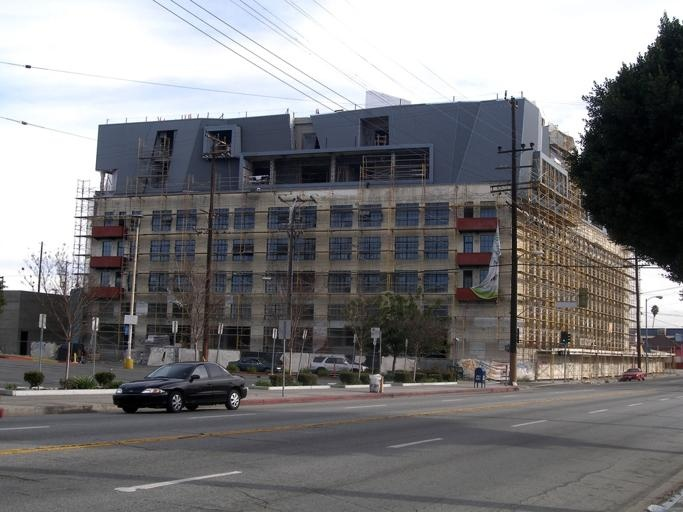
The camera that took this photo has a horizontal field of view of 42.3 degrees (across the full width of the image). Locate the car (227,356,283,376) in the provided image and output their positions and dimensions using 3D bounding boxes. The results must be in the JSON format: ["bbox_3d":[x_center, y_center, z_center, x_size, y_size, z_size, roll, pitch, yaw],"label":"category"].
[{"bbox_3d":[-6.463,8.455,67.855,3.321,0.933,1.535,-1,-2,9],"label":"car"}]

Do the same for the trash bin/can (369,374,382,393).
[{"bbox_3d":[1.779,6.592,46.079,0.827,0.925,0.776,-1,-3,1],"label":"trash bin/can"}]

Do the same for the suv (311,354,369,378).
[{"bbox_3d":[-0.518,7.958,63.434,3.740,1.498,1.837,-3,-6,17],"label":"suv"}]

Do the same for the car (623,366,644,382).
[{"bbox_3d":[27.134,11.050,82.705,1.332,0.927,2.818,-5,-9,32],"label":"car"}]

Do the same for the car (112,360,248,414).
[{"bbox_3d":[-5.412,4.528,30.672,1.342,1.665,4.322,-6,-10,39],"label":"car"}]
